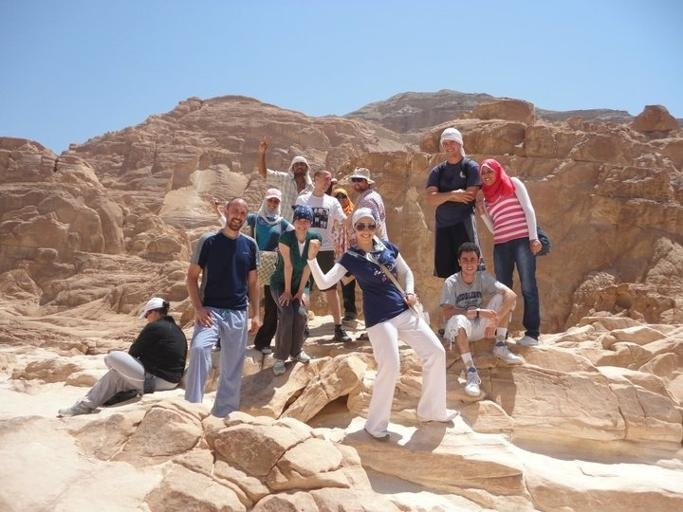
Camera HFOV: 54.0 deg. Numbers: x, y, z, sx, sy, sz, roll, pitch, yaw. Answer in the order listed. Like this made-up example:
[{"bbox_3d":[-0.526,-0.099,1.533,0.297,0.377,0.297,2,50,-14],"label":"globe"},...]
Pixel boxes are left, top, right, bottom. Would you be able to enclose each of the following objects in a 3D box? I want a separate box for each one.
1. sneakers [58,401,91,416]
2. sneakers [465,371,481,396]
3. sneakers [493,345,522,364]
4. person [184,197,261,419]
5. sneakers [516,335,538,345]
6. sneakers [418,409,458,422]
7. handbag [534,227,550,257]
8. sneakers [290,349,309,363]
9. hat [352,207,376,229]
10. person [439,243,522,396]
[{"bbox_3d":[-3.288,1.925,8.319,0.459,0.192,0.167,10,-7,-17],"label":"sneakers"},{"bbox_3d":[1.596,1.578,8.151,0.170,0.311,0.181,1,-2,10],"label":"sneakers"},{"bbox_3d":[2.080,1.252,8.531,0.397,0.186,0.160,14,6,12],"label":"sneakers"},{"bbox_3d":[-1.429,0.608,8.127,0.863,2.658,0.420,2,-2,-14],"label":"person"},{"bbox_3d":[2.438,1.112,8.787,0.125,0.099,0.231,5,-3,-24],"label":"sneakers"},{"bbox_3d":[1.114,1.895,7.874,0.451,0.191,0.179,-3,-2,-5],"label":"sneakers"},{"bbox_3d":[2.639,-0.229,8.821,0.144,0.410,0.303,-13,-13,28],"label":"handbag"},{"bbox_3d":[-0.563,1.354,8.874,0.289,0.129,0.116,-3,-7,8],"label":"sneakers"},{"bbox_3d":[0.264,-0.451,7.971,0.213,0.214,0.277,1,-42,-3],"label":"hat"},{"bbox_3d":[1.674,0.674,8.308,1.099,1.511,1.420,3,16,19],"label":"person"}]
